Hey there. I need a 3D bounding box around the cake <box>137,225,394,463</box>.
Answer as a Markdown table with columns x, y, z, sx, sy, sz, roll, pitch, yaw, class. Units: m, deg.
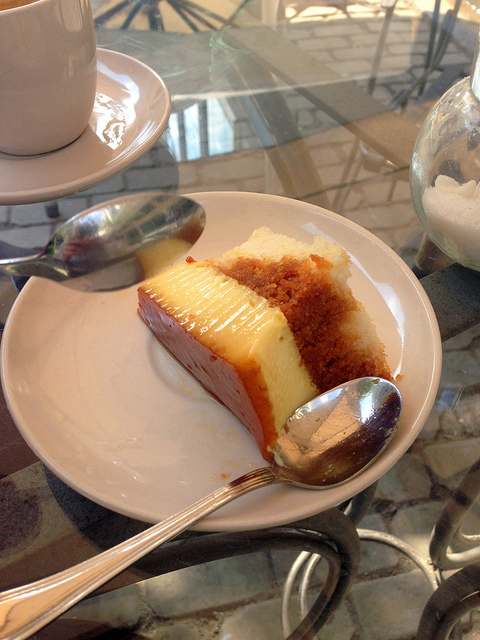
| x | y | z | sx | sy | sz | roll | pitch | yaw | class |
| --- | --- | --- | --- | --- | --- | --- | --- | --- | --- |
| 0.023 | 0.041 | 0.672 | 0.232 | 0.068 | 0.207 | -24 | 62 | -21 | cake |
